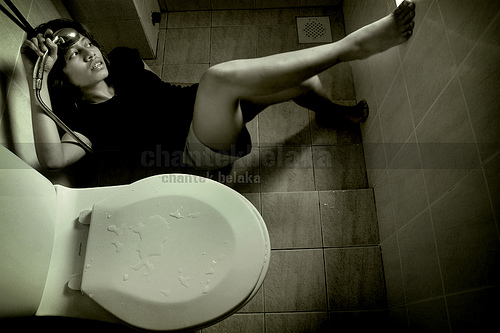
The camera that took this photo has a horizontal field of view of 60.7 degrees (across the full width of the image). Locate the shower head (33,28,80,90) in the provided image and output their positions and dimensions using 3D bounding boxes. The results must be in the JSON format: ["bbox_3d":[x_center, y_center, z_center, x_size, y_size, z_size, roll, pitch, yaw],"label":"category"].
[{"bbox_3d":[-0.914,-0.437,1.860,0.088,0.106,0.293,6,87,-2],"label":"shower head"}]

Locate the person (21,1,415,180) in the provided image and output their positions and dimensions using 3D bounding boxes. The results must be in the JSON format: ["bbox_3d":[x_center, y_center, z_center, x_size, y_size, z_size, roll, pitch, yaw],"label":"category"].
[{"bbox_3d":[-0.259,-0.362,2.159,1.293,0.731,0.904,-8,47,5],"label":"person"}]
